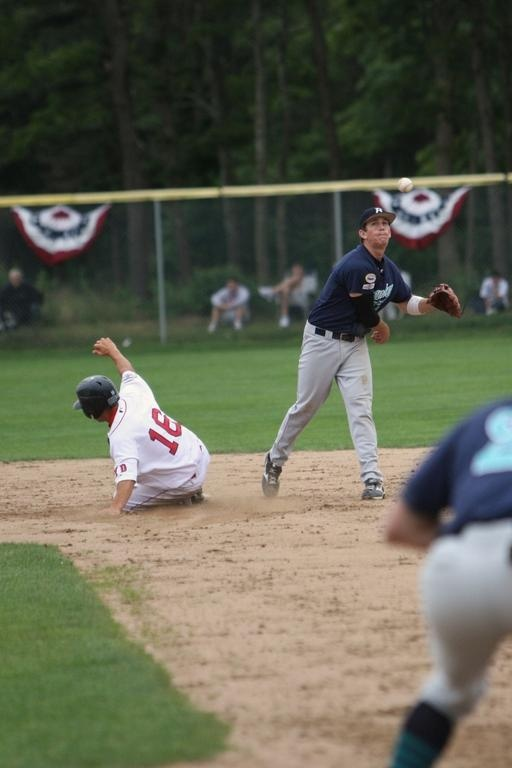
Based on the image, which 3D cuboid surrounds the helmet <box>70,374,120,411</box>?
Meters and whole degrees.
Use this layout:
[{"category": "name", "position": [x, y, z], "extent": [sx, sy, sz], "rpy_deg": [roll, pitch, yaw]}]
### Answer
[{"category": "helmet", "position": [-0.850, 0.052, 6.017], "extent": [0.228, 0.120, 0.154], "rpy_deg": [2, 26, 17]}]

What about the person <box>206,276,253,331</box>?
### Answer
[{"category": "person", "position": [-0.444, -1.274, 19.119], "extent": [0.665, 0.800, 1.070], "rpy_deg": [-3, 4, 2]}]

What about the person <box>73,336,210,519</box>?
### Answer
[{"category": "person", "position": [-0.622, 0.228, 5.992], "extent": [0.610, 0.907, 0.759], "rpy_deg": [-3, 4, 9]}]

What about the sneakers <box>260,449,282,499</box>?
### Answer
[{"category": "sneakers", "position": [0.083, 0.503, 6.394], "extent": [0.093, 0.246, 0.117], "rpy_deg": [-2, 8, -20]}]

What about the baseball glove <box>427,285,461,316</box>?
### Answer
[{"category": "baseball glove", "position": [1.016, -0.403, 6.069], "extent": [0.064, 0.184, 0.142], "rpy_deg": [-39, 26, -7]}]

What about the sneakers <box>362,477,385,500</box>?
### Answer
[{"category": "sneakers", "position": [0.619, 0.563, 6.145], "extent": [0.125, 0.112, 0.116], "rpy_deg": [-3, 4, 4]}]

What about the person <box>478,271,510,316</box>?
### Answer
[{"category": "person", "position": [3.791, -1.440, 18.345], "extent": [0.405, 0.634, 0.969], "rpy_deg": [-3, 4, 10]}]
